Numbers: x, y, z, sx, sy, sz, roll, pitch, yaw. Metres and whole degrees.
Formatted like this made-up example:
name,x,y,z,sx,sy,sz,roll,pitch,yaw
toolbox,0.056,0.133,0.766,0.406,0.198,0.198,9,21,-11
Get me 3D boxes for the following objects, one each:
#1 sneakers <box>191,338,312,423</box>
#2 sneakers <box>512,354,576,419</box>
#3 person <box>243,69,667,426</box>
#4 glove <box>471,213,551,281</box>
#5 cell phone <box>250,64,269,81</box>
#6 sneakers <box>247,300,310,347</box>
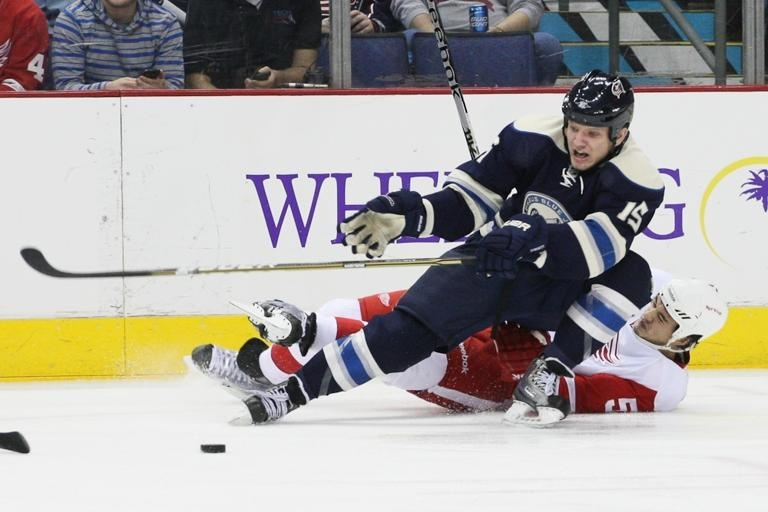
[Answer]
name,x,y,z,sx,sy,sz,roll,pitch,yaw
sneakers,-0.565,0.548,5.000,0.385,0.119,0.173,32,-9,6
sneakers,0.720,0.575,4.968,0.157,0.230,0.477,2,7,-24
person,0.314,0.011,4.867,2.042,1.125,1.017,-21,40,-28
glove,0.561,-0.038,4.844,0.316,0.134,0.211,-40,51,-10
cell phone,-0.629,-0.932,5.827,0.111,0.043,0.042,-33,20,0
sneakers,-0.464,0.268,5.014,0.264,0.140,0.316,14,11,28
